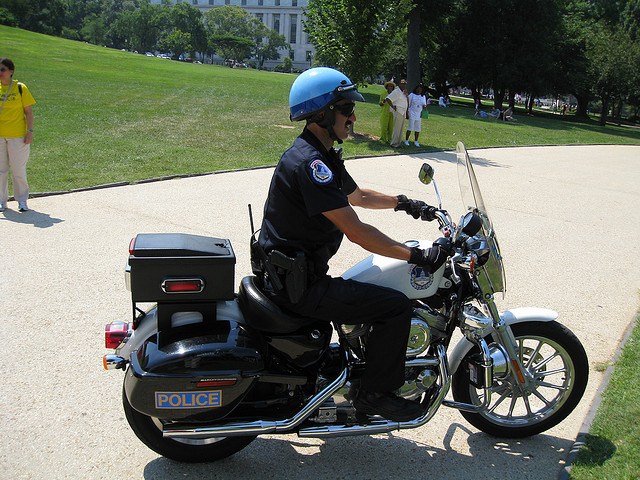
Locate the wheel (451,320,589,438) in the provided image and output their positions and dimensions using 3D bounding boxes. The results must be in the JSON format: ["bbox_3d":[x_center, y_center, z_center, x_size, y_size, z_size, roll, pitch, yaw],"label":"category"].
[{"bbox_3d":[1.638,1.177,4.991,0.978,1.055,0.169,2,-1,2],"label":"wheel"}]

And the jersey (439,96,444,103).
[{"bbox_3d":[9.257,-10.575,45.607,0.358,0.391,0.956,7,14,7],"label":"jersey"}]

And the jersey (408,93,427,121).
[{"bbox_3d":[2.911,-3.994,18.152,0.479,0.795,0.669,7,14,8],"label":"jersey"}]

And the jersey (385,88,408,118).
[{"bbox_3d":[2.230,-3.981,17.285,0.633,0.722,0.359,3,14,-10],"label":"jersey"}]

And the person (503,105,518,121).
[{"bbox_3d":[11.792,-7.791,37.322,0.749,0.777,1.856,9,15,15],"label":"person"}]

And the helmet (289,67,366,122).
[{"bbox_3d":[0.041,-1.174,4.737,0.648,0.386,0.494,-5,16,20],"label":"helmet"}]

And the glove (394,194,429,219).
[{"bbox_3d":[0.764,-0.281,5.028,0.239,0.111,0.185,30,-2,-3],"label":"glove"}]

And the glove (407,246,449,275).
[{"bbox_3d":[0.818,0.170,4.482,0.304,0.246,0.175,-6,18,-38],"label":"glove"}]
